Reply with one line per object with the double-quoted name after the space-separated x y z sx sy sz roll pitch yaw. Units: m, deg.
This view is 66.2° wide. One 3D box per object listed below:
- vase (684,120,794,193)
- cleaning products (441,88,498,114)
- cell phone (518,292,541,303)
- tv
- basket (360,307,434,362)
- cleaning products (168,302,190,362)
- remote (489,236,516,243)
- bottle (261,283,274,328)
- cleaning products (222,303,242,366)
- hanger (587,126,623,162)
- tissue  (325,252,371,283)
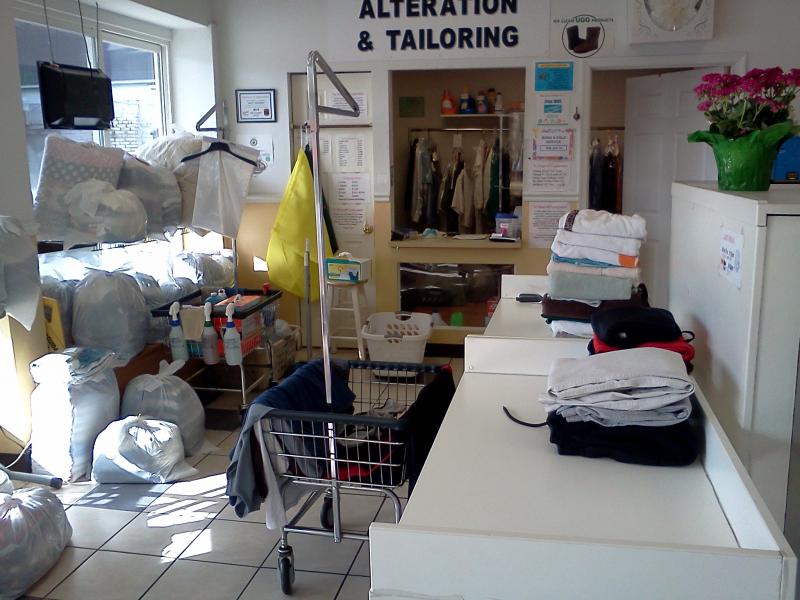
1.170 -0.495 2.129 0.215 0.188 0.276 -5 10 -11 "vase"
0.655 -1.879 5.796 0.563 0.252 0.496 0 15 3 "cleaning products"
0.641 -0.022 3.067 0.089 0.026 0.054 3 8 14 "cell phone"
-2.004 -1.234 3.721 0.069 0.407 0.514 9 14 27 "tv"
-0.032 0.282 4.844 0.549 0.314 0.570 -1 15 -2 "basket"
-1.419 0.213 3.892 0.108 0.386 0.317 -6 15 -21 "cleaning products"
0.862 -0.520 5.174 0.235 0.055 0.131 2 15 11 "remote"
-0.987 0.039 4.524 0.087 0.395 0.324 -4 15 -11 "bottle"
-1.105 0.223 3.996 0.120 0.402 0.267 -5 15 -18 "cleaning products"
2.103 -1.615 6.261 0.322 0.314 0.352 4 15 17 "hanger"
-0.415 -0.250 4.927 0.309 0.244 0.234 2 4 19 "tissue "
